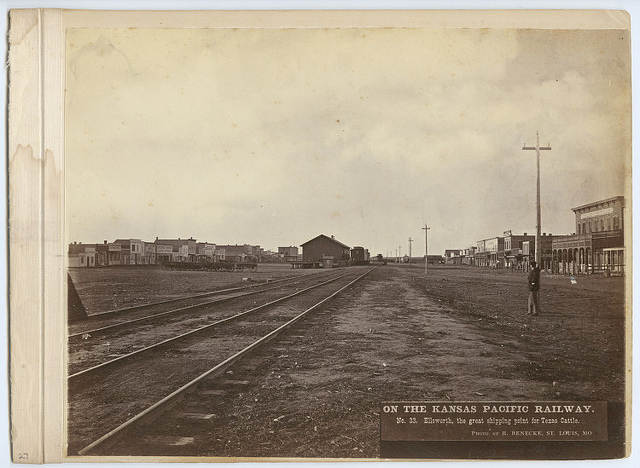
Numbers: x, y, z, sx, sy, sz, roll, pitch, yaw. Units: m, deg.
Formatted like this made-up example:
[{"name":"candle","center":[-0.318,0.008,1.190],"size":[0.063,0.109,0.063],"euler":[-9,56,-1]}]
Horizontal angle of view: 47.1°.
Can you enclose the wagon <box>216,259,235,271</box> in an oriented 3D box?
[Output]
[{"name":"wagon","center":[-7.106,2.516,55.454],"size":[1.109,0.664,1.958],"euler":[2,6,18]}]

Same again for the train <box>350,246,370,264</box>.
[{"name":"train","center":[4.740,2.993,97.854],"size":[1.308,2.070,6.924],"euler":[-2,-8,10]}]

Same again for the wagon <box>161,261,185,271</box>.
[{"name":"wagon","center":[-10.839,2.338,53.746],"size":[0.953,0.674,2.909],"euler":[1,6,12]}]

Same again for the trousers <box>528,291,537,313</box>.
[{"name":"trousers","center":[6.213,1.986,21.419],"size":[0.254,0.671,0.236],"euler":[1,7,15]}]

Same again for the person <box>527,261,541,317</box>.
[{"name":"person","center":[6.143,1.592,21.143],"size":[0.304,1.712,0.996],"euler":[2,6,16]}]

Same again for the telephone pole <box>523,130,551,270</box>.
[{"name":"telephone pole","center":[5.762,-0.908,19.457],"size":[0.795,3.818,0.126],"euler":[6,30,27]}]
